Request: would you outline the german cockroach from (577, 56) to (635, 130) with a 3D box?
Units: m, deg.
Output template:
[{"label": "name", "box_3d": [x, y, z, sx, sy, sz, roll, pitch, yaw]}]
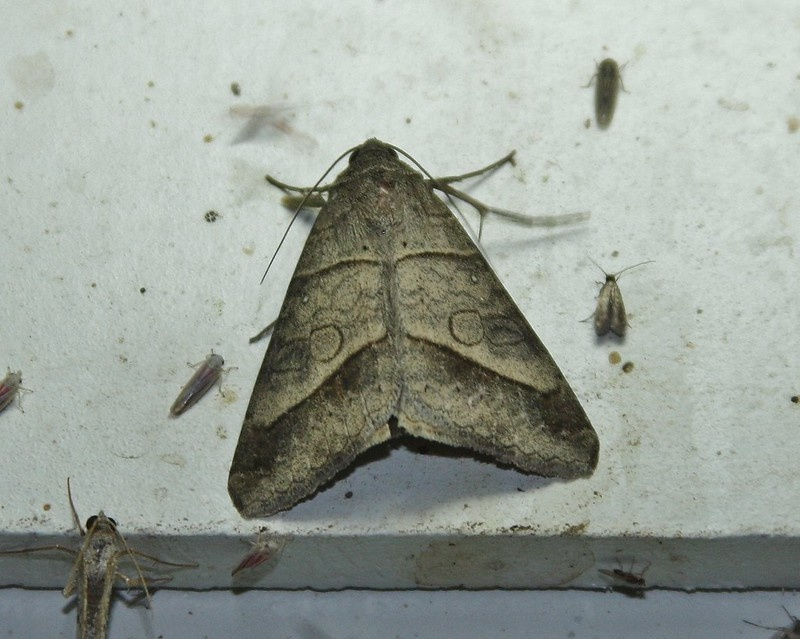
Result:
[{"label": "german cockroach", "box_3d": [0.722, -0.793, 4.891, 0.165, 0.061, 0.221, 3, 87, 5]}]

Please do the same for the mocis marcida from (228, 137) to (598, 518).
[{"label": "mocis marcida", "box_3d": [0.063, 0.080, 4.606, 1.381, 0.353, 1.261, -9, 89, 2]}]

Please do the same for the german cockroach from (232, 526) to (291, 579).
[{"label": "german cockroach", "box_3d": [-0.457, 0.764, 4.719, 0.258, 0.110, 0.083, -36, 91, -2]}]

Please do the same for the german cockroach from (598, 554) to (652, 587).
[{"label": "german cockroach", "box_3d": [0.750, 0.841, 4.687, 0.166, 0.055, 0.084, 11, 42, 5]}]

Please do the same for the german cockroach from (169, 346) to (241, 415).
[{"label": "german cockroach", "box_3d": [-0.681, 0.213, 4.796, 0.154, 0.070, 0.266, 37, 69, 4]}]

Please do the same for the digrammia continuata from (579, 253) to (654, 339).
[{"label": "digrammia continuata", "box_3d": [0.733, -0.069, 4.784, 0.247, 0.093, 0.271, 0, 84, 4]}]
